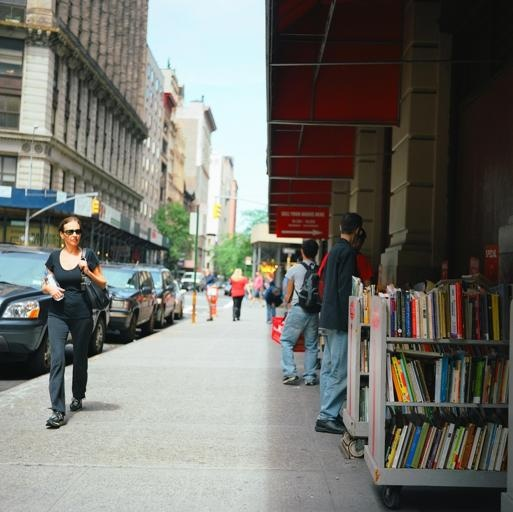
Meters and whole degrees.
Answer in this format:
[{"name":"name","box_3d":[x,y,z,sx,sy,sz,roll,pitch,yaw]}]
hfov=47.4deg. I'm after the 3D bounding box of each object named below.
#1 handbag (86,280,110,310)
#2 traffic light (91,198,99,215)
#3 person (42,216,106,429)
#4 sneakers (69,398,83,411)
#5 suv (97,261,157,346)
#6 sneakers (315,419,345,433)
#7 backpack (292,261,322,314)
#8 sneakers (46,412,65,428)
[{"name":"handbag","box_3d":[-1.585,0.385,5.749,0.111,0.252,0.219,-25,0,4]},{"name":"traffic light","box_3d":[-8.242,-2.546,29.743,0.303,0.919,1.777,2,-3,-17]},{"name":"person","box_3d":[-1.803,0.714,5.726,0.574,1.717,0.796,3,-3,-32]},{"name":"sneakers","box_3d":[-1.873,1.544,6.030,0.055,0.095,0.197,4,-20,-6]},{"name":"suv","box_3d":[-3.239,1.149,14.983,1.472,1.556,2.813,0,-2,3]},{"name":"sneakers","box_3d":[0.668,1.563,5.342,0.260,0.150,0.112,-1,0,4]},{"name":"backpack","box_3d":[0.654,0.440,7.423,0.295,0.547,0.461,9,-1,-22]},{"name":"sneakers","box_3d":[-1.844,1.503,5.347,0.074,0.119,0.227,-2,-16,2]}]
